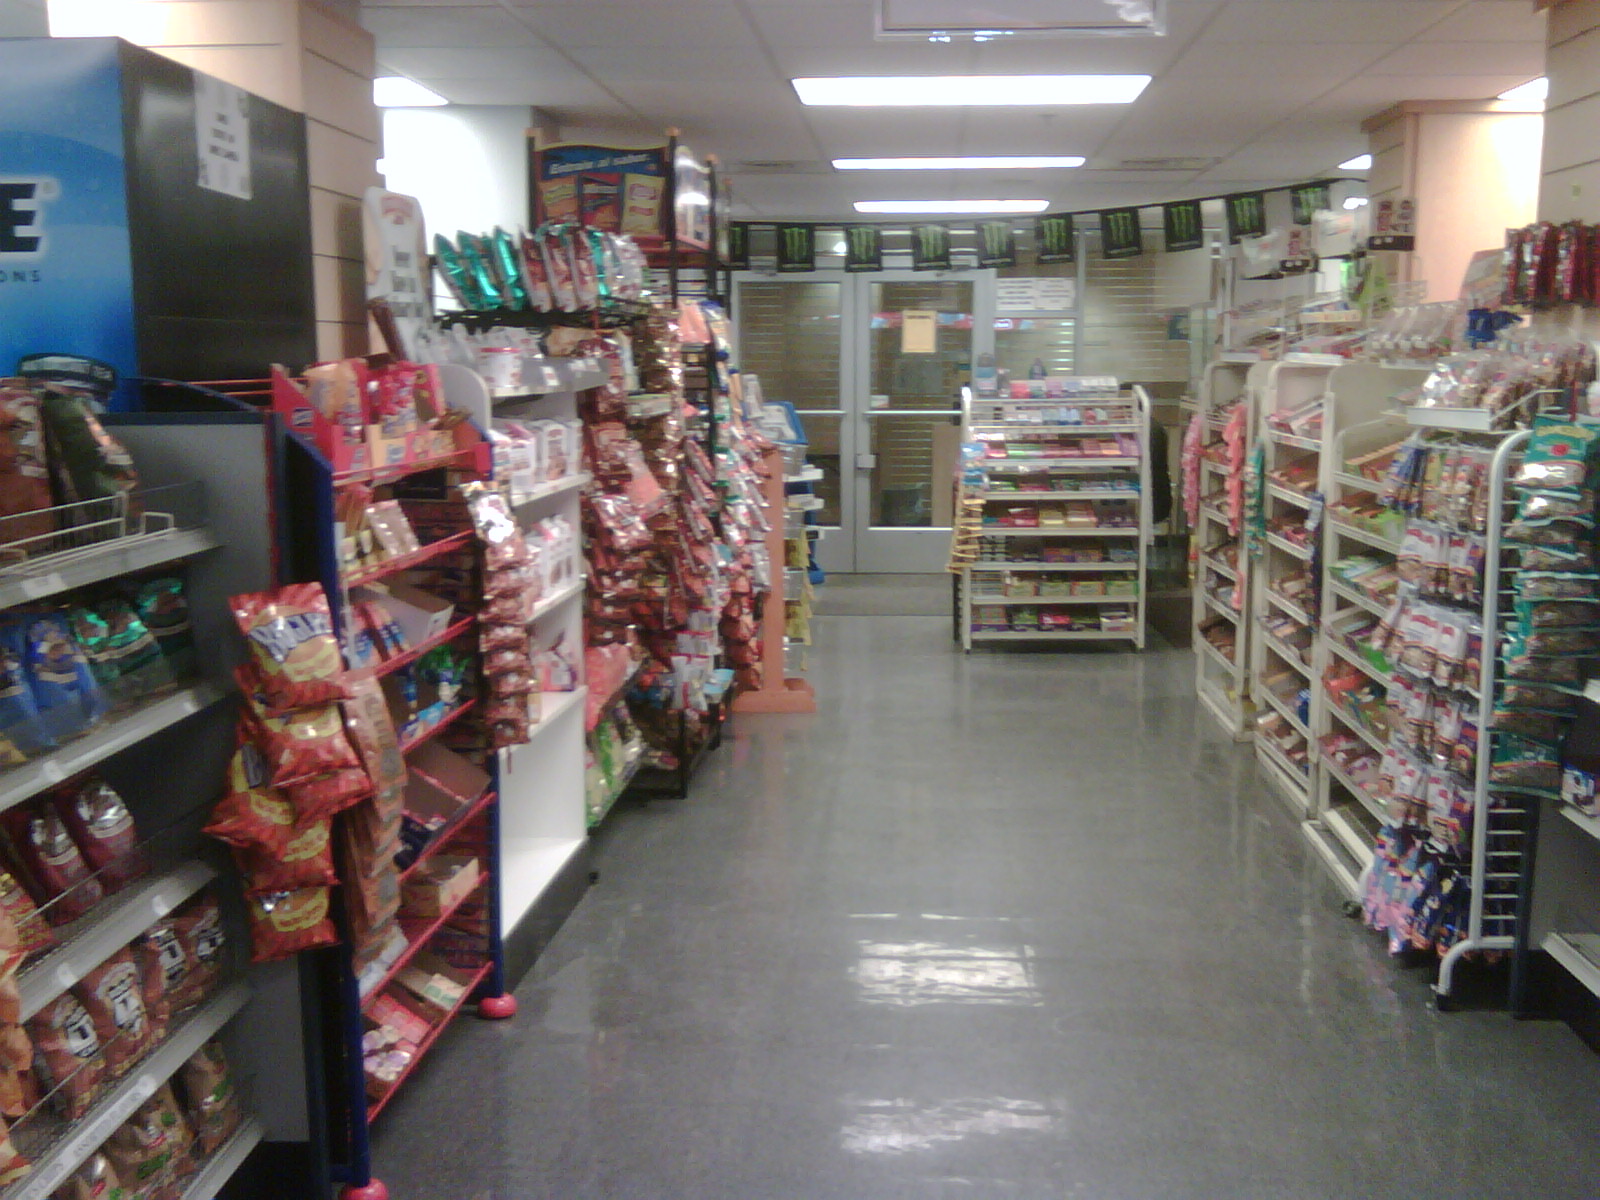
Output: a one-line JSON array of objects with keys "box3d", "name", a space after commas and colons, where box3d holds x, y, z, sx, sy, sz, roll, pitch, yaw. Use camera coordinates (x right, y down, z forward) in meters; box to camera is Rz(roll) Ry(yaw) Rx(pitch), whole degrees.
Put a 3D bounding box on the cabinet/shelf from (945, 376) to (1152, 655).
[{"box3d": [1.784, -0.589, 8.113, 1.363, 1.872, 0.967, -1, 15, 8], "name": "cabinet/shelf"}]
